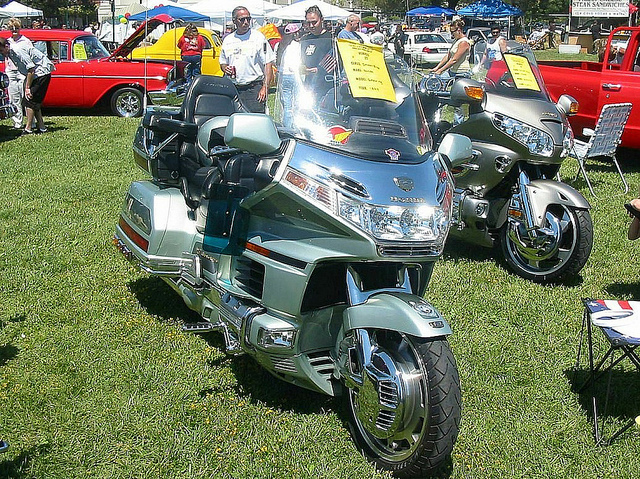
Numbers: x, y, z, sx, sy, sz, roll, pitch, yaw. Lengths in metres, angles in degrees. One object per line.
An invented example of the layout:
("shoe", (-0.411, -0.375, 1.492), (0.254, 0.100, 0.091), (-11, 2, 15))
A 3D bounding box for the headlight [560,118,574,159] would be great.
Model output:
("headlight", (2.491, -1.022, 5.653), (0.125, 0.343, 0.247), (1, 10, 24))

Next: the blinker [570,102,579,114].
("blinker", (2.792, -1.463, 6.177), (0.060, 0.114, 0.279), (13, 25, 29))

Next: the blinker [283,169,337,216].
("blinker", (-0.046, -0.300, 3.437), (0.372, 0.202, 0.066), (14, 25, 29))

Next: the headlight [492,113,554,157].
("headlight", (1.942, -1.063, 5.658), (0.785, 0.238, 0.244), (33, 24, 16))

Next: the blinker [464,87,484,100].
("blinker", (1.568, -1.482, 5.708), (0.212, 0.121, 0.037), (-7, 22, -19))
